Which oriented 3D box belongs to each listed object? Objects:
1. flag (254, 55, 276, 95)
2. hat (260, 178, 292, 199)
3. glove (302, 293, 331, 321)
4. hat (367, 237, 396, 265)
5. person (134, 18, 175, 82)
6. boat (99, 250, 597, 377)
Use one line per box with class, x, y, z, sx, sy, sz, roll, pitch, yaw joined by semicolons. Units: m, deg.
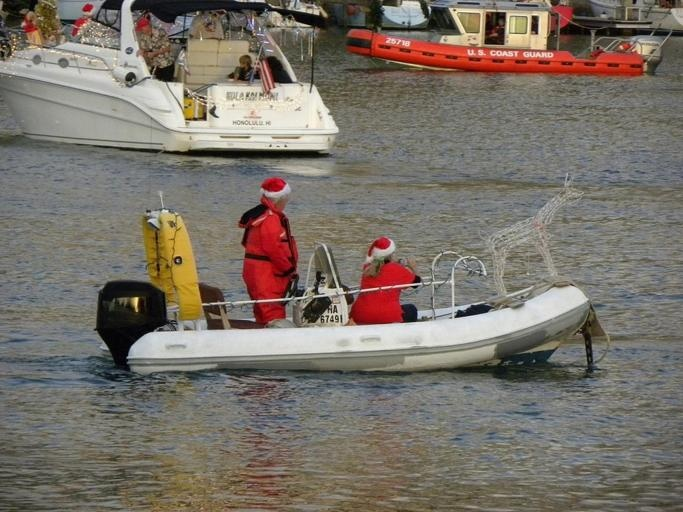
flag;-1.528;-3.636;22.861;0.328;0.735;0.324;-4;25;-4
hat;-0.701;-0.703;11.951;0.412;0.158;0.197;-5;46;5
glove;-0.290;0.552;11.944;0.398;0.202;0.125;-34;20;12
hat;0.402;-0.080;11.935;0.285;0.267;0.411;-1;18;1
person;-3.832;-4.248;23.066;0.703;1.393;0.813;-5;24;-7
boat;0.046;0.557;12.046;5.080;0.828;1.759;0;3;-4
